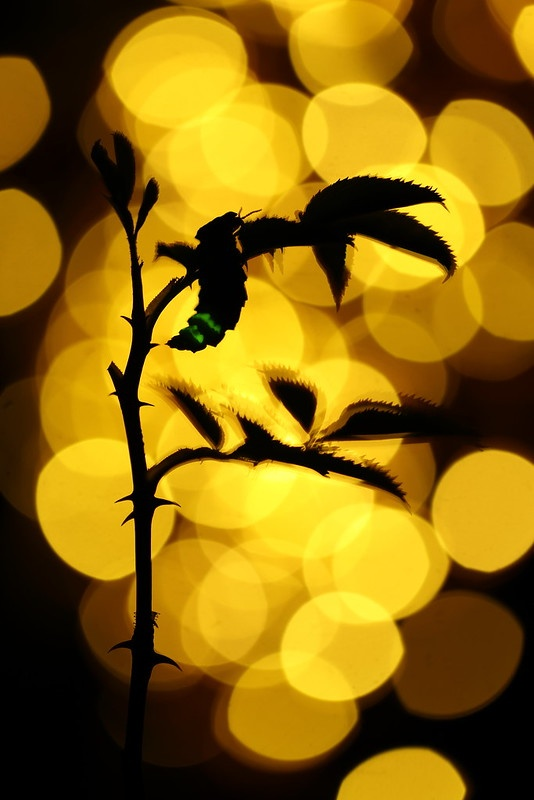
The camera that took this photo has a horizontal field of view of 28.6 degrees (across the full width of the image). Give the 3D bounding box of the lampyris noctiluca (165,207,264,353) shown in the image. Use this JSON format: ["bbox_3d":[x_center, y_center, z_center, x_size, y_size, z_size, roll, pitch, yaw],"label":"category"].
[{"bbox_3d":[-0.061,-0.145,1.285,0.141,0.151,0.045,32,-2,-2],"label":"lampyris noctiluca"}]
